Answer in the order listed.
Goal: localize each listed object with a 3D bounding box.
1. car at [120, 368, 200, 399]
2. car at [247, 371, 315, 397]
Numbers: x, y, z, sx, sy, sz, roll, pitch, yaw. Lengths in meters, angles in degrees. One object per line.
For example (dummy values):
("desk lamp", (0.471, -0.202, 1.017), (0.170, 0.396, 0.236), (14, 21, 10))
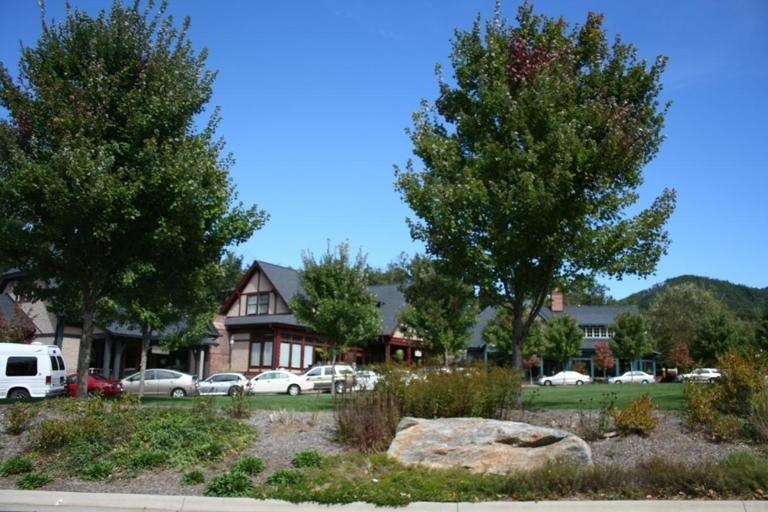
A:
("car", (-11.945, 6.836, 33.916), (3.357, 1.582, 2.112), (-7, 12, -24))
("car", (-5.499, 6.918, 34.365), (3.571, 1.303, 1.639), (4, -10, -10))
